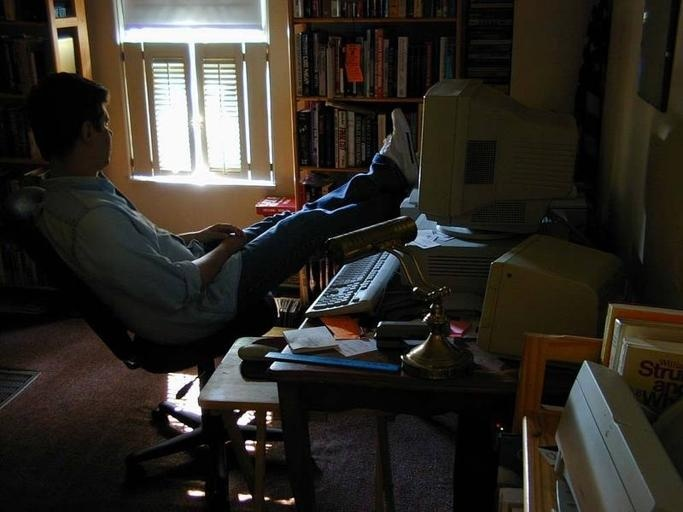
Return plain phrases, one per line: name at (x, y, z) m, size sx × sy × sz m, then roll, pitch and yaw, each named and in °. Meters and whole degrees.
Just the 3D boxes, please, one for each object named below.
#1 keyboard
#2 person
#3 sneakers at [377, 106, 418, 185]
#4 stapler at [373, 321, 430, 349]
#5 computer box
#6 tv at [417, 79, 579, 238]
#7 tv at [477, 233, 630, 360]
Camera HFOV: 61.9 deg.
keyboard at (0.054, 0.079, 1.804) m, size 0.196 × 0.059 × 0.500 m, roll -5°, pitch 15°, yaw 15°
person at (-0.342, -0.245, 2.525) m, size 1.755 × 1.094 × 0.744 m, roll -5°, pitch 14°, yaw -25°
sneakers at (0.255, -0.461, 2.599) m, size 0.169 × 0.395 × 0.133 m, roll -13°, pitch 2°, yaw 5°
stapler at (0.146, 0.200, 1.457) m, size 0.101 × 0.049 × 0.087 m, roll 0°, pitch 25°, yaw 1°
computer box at (0.372, 0.009, 1.731) m, size 0.235 × 0.183 × 0.357 m, roll 3°, pitch 22°, yaw 9°
tv at (0.471, -0.334, 1.858) m, size 0.454 × 0.427 × 0.459 m, roll 3°, pitch 17°, yaw 9°
tv at (0.553, 0.071, 1.500) m, size 0.269 × 0.288 × 0.388 m, roll 15°, pitch 22°, yaw 23°
